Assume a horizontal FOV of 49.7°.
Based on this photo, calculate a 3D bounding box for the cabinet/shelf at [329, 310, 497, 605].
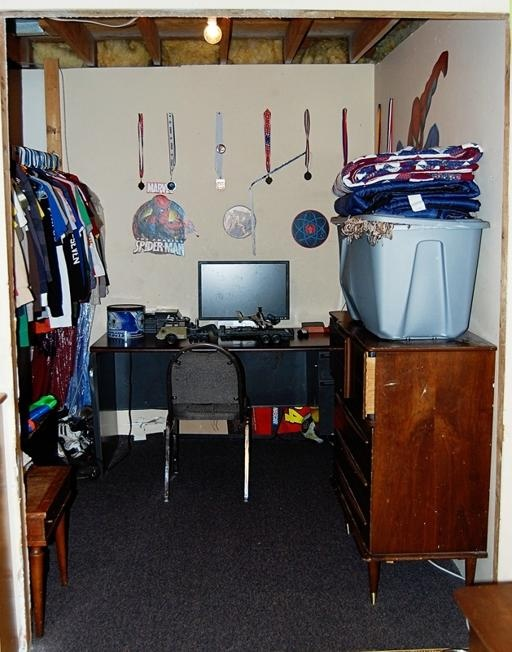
[{"bbox_3d":[0.629,0.340,2.315,0.388,0.890,1.008,-3,16,6],"label":"cabinet/shelf"}]

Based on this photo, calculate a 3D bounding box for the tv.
[{"bbox_3d":[-0.075,-0.217,3.474,0.575,0.381,0.148,-3,8,-4],"label":"tv"}]

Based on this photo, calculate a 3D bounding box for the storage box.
[{"bbox_3d":[0.545,-0.194,2.122,0.394,0.445,0.593,0,7,-3],"label":"storage box"}]

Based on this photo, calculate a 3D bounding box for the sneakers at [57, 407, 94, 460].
[{"bbox_3d":[-1.040,0.617,3.197,0.144,0.071,0.282,0,15,-6],"label":"sneakers"}]

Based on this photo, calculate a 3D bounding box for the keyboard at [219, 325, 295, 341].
[{"bbox_3d":[-0.004,0.046,3.320,0.445,0.095,0.246,-2,9,-2],"label":"keyboard"}]

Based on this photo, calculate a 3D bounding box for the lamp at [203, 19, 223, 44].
[{"bbox_3d":[-0.229,-1.579,2.940,0.073,0.151,0.209,-2,8,-1],"label":"lamp"}]

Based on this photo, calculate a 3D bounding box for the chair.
[{"bbox_3d":[-0.265,0.478,2.830,0.470,0.840,0.334,-2,8,-2],"label":"chair"}]
